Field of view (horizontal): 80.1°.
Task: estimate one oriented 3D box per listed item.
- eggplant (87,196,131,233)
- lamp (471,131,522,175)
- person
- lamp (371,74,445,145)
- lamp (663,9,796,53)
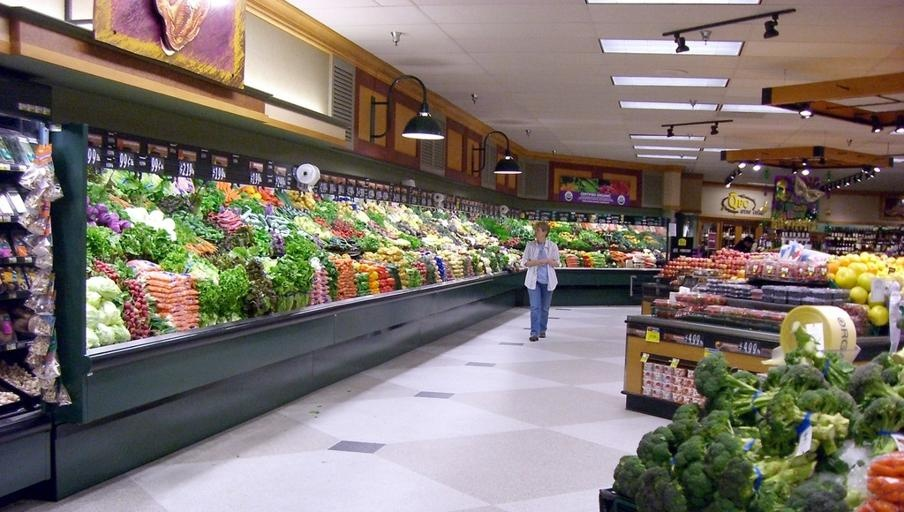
[{"bbox_3d":[-3.114,-0.353,4.847,0.345,0.158,0.257,36,-2,-39],"label":"eggplant"},{"bbox_3d":[0.876,-2.001,10.307,1.013,0.769,0.569,3,17,21],"label":"lamp"},{"bbox_3d":[1.482,0.414,8.931,0.685,1.922,0.642,2,-1,-41],"label":"person"},{"bbox_3d":[-0.710,-2.247,8.120,1.310,1.335,0.466,-2,0,23],"label":"lamp"},{"bbox_3d":[3.369,-2.714,6.580,1.424,0.342,0.410,7,10,31],"label":"lamp"}]
